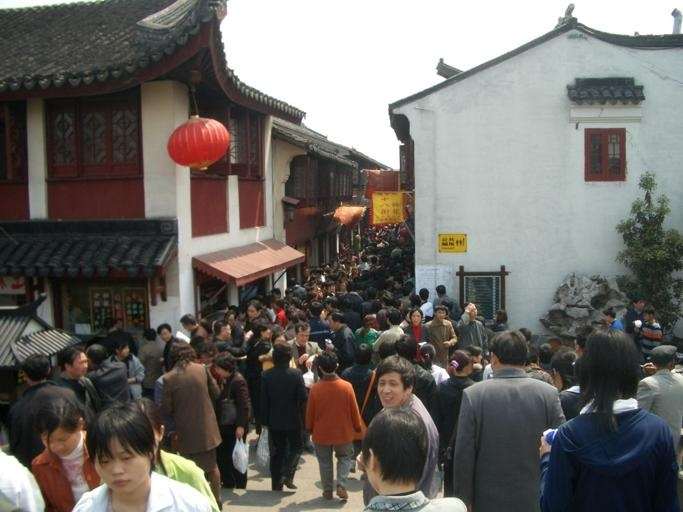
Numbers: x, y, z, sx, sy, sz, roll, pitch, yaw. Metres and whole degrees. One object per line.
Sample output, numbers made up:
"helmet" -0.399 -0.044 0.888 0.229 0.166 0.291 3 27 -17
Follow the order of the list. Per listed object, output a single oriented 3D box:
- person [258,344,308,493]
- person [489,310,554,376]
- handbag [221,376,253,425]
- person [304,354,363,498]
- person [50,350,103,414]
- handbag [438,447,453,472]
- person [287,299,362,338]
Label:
"person" -0.862 2.421 14.077 0.693 2.229 0.303 0 -1 -6
"person" 2.818 1.510 14.229 0.696 1.190 0.350 -1 13 14
"handbag" -1.580 2.143 13.832 0.444 0.809 0.223 0 -1 -7
"person" -0.097 2.498 13.693 0.827 2.200 0.302 0 -1 -4
"person" -3.678 1.778 13.059 0.446 0.824 0.766 -4 10 6
"handbag" 1.427 2.747 12.654 0.209 0.301 0.311 2 -3 7
"person" -0.296 1.134 16.593 1.094 0.375 0.381 -2 14 6
